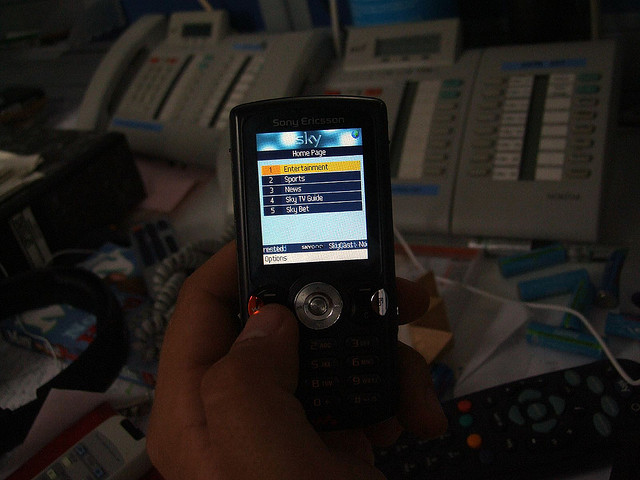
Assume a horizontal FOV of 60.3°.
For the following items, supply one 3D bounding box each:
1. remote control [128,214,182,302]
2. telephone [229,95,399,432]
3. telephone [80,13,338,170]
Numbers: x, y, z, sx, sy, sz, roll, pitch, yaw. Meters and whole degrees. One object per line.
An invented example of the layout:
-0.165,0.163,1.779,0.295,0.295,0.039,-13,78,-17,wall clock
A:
-0.249,0.014,0.838,0.064,0.020,0.102,-8,49,-21,remote control
-0.003,0.021,0.663,0.202,0.332,0.253,-7,31,9,telephone
-0.201,-0.259,1.038,0.394,0.148,0.297,11,54,25,telephone
